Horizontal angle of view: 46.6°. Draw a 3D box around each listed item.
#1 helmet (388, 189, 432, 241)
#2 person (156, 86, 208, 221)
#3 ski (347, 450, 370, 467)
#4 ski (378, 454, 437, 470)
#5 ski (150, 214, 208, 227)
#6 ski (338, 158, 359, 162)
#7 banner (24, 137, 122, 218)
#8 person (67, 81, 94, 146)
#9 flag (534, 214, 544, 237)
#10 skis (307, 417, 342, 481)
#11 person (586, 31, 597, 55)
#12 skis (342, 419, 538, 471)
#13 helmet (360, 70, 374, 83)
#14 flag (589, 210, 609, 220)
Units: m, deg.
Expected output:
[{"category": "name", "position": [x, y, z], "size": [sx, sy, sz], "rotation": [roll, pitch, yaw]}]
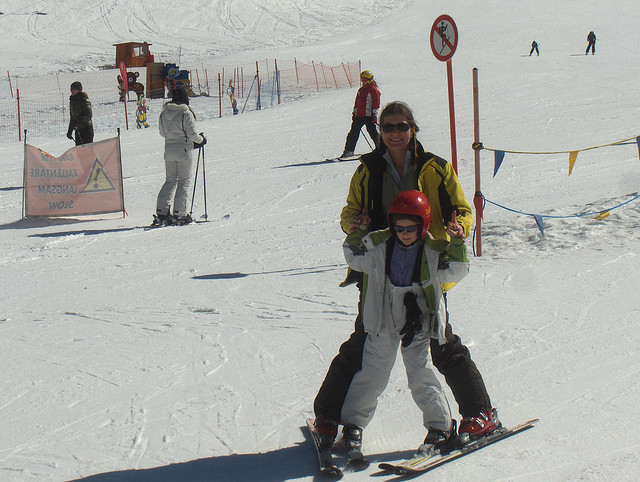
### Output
[{"category": "helmet", "position": [0.630, -0.186, 5.220], "size": [0.313, 0.308, 0.337], "rotation": [-1, 5, -18]}, {"category": "person", "position": [-2.166, -1.312, 11.229], "size": [0.831, 1.985, 0.420], "rotation": [-7, 13, -12]}, {"category": "ski", "position": [0.261, 1.506, 5.156], "size": [0.138, 0.083, 0.071], "rotation": [-3, 13, 4]}, {"category": "ski", "position": [0.600, 1.531, 5.078], "size": [0.404, 0.059, 0.130], "rotation": [-5, 14, -3]}, {"category": "ski", "position": [-2.162, -0.320, 11.455], "size": [0.924, 0.179, 0.269], "rotation": [-3, 15, -29]}, {"category": "ski", "position": [0.532, -1.633, 14.897], "size": [0.348, 0.063, 0.140], "rotation": [-5, 14, -5]}, {"category": "banner", "position": [-3.904, -1.010, 11.698], "size": [1.585, 1.304, 0.141], "rotation": [-2, -3, 0]}, {"category": "person", "position": [-4.454, -2.330, 13.644], "size": [0.481, 1.139, 1.056], "rotation": [-8, 14, -18]}, {"category": "flag", "position": [2.575, -0.179, 8.705], "size": [0.082, 0.251, 0.011], "rotation": [-17, -4, -29]}, {"category": "skis", "position": [0.009, 1.470, 5.258], "size": [0.110, 0.085, 0.484], "rotation": [27, 21, -30]}, {"category": "person", "position": [11.090, -8.118, 30.469], "size": [0.340, 0.905, 1.177], "rotation": [0, 14, 18]}, {"category": "skis", "position": [0.865, 1.450, 5.227], "size": [1.432, 0.082, 0.167], "rotation": [-8, 6, -26]}, {"category": "helmet", "position": [0.835, -3.106, 13.798], "size": [0.252, 0.228, 0.205], "rotation": [19, 56, 8]}, {"category": "flag", "position": [3.598, -0.339, 9.427], "size": [0.275, 0.096, 0.154], "rotation": [-8, 14, -16]}]
